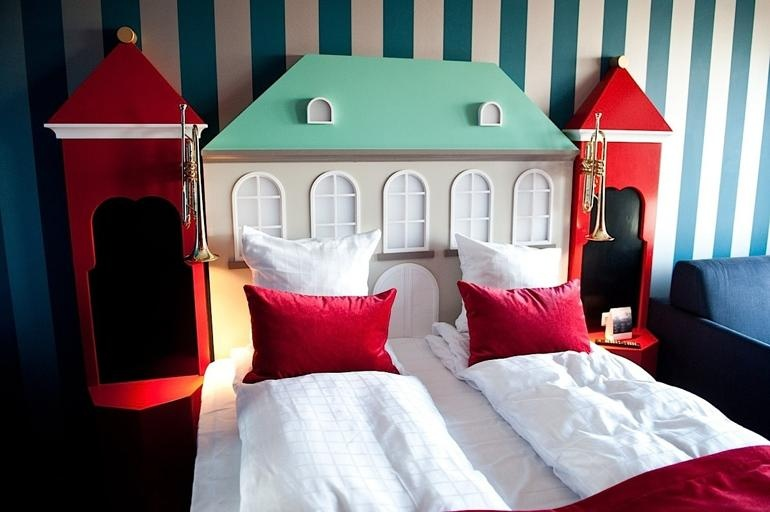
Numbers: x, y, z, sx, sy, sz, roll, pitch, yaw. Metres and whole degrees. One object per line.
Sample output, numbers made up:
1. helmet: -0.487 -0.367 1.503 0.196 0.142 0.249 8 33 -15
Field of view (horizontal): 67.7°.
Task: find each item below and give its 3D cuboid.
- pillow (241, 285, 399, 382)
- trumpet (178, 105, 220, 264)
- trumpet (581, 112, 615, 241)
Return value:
1. pillow: -0.338 0.408 2.976 0.978 0.580 0.621 -1 8 -12
2. trumpet: -1.027 -0.398 3.107 0.178 0.861 0.235 -3 14 -27
3. trumpet: 1.355 -0.538 3.654 0.174 0.839 0.313 0 9 3
